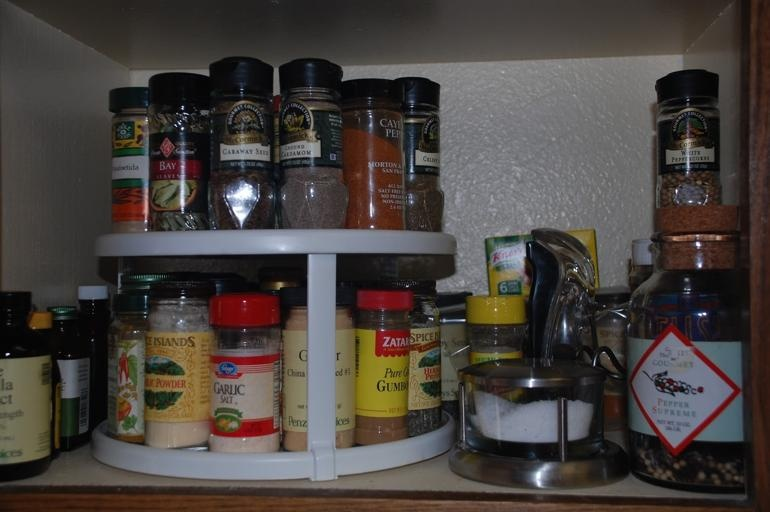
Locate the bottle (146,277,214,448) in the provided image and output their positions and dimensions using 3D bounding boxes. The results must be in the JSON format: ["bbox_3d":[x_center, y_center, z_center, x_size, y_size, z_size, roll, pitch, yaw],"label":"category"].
[{"bbox_3d":[-0.324,0.169,1.144,0.115,0.254,0.058,-4,4,-14],"label":"bottle"}]

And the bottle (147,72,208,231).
[{"bbox_3d":[-0.327,-0.169,1.185,0.118,0.250,0.078,0,5,30],"label":"bottle"}]

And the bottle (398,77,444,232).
[{"bbox_3d":[0.063,-0.172,1.239,0.076,0.258,0.045,-4,4,-13],"label":"bottle"}]

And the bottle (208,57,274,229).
[{"bbox_3d":[-0.227,-0.176,1.151,0.110,0.265,0.045,-4,4,-13],"label":"bottle"}]

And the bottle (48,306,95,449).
[{"bbox_3d":[-0.515,0.199,1.207,0.063,0.229,0.036,-6,5,-34],"label":"bottle"}]

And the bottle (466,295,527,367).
[{"bbox_3d":[0.193,0.128,1.270,0.098,0.139,0.094,0,14,0],"label":"bottle"}]

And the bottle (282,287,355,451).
[{"bbox_3d":[-0.105,0.173,1.140,0.121,0.250,0.051,-3,4,-3],"label":"bottle"}]

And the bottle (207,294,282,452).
[{"bbox_3d":[-0.214,0.178,1.107,0.118,0.239,0.061,-3,4,-9],"label":"bottle"}]

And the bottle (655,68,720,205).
[{"bbox_3d":[0.477,-0.186,1.145,0.094,0.210,0.083,-1,4,19],"label":"bottle"}]

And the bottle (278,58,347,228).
[{"bbox_3d":[-0.116,-0.174,1.142,0.105,0.261,0.060,-3,4,-4],"label":"bottle"}]

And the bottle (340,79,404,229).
[{"bbox_3d":[-0.019,-0.161,1.165,0.097,0.237,0.052,-3,4,-2],"label":"bottle"}]

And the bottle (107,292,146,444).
[{"bbox_3d":[-0.423,0.182,1.195,0.074,0.233,0.065,-2,4,8],"label":"bottle"}]

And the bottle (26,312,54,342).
[{"bbox_3d":[-0.537,0.111,1.138,0.046,0.031,0.045,3,-2,0],"label":"bottle"}]

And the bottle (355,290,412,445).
[{"bbox_3d":[-0.006,0.190,1.163,0.090,0.209,0.056,-3,4,2],"label":"bottle"}]

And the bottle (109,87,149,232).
[{"bbox_3d":[-0.436,-0.165,1.244,0.074,0.242,0.039,-1,4,20],"label":"bottle"}]

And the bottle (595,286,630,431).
[{"bbox_3d":[0.411,0.176,1.308,0.058,0.232,0.151,-2,4,18],"label":"bottle"}]
